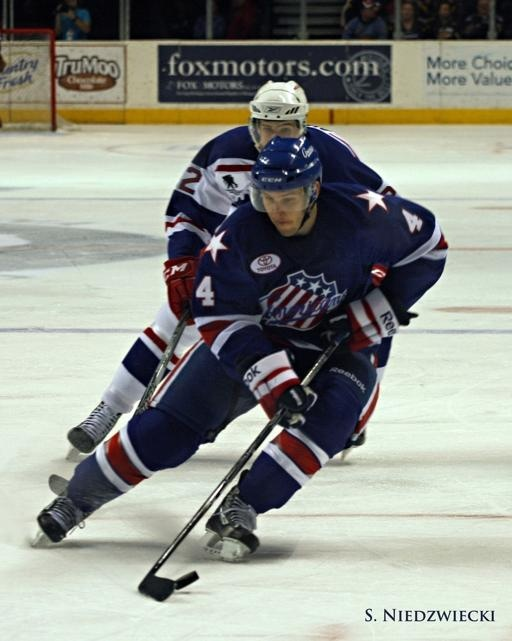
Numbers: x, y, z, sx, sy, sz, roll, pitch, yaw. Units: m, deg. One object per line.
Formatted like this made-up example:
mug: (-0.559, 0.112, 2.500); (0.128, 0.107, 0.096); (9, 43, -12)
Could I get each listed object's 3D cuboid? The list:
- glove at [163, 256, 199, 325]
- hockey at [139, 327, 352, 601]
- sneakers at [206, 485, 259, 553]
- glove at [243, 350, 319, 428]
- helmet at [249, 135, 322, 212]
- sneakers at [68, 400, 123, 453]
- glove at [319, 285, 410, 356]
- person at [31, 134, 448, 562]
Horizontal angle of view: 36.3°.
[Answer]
glove: (-0.230, -0.112, 2.422); (0.109, 0.172, 0.168); (3, 4, 10)
hockey: (-0.019, 0.335, 1.786); (0.754, 0.103, 0.047); (-40, 65, -17)
sneakers: (-0.047, 0.449, 1.713); (0.101, 0.138, 0.094); (5, 11, 44)
glove: (0.055, 0.141, 1.741); (0.153, 0.174, 0.077); (-44, -11, 34)
helmet: (0.086, -0.343, 1.803); (0.176, 0.164, 0.194); (1, 32, 21)
sneakers: (-0.497, 0.329, 2.446); (0.085, 0.094, 0.234); (33, 21, 2)
glove: (0.270, -0.003, 1.958); (0.209, 0.073, 0.145); (-16, 15, 33)
person: (-0.079, 0.062, 1.912); (1.117, 1.000, 0.595); (1, 11, -38)
